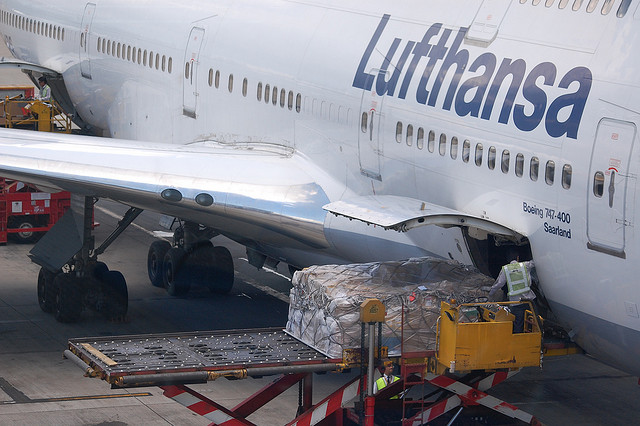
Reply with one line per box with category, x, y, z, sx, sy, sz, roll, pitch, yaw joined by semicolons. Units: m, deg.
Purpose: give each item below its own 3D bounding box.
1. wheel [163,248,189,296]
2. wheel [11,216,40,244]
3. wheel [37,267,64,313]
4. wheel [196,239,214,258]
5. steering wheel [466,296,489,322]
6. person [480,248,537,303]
wheel;-3.902;1.579;20.005;0.460;1.224;1.255;0;-4;-25
wheel;-9.482;0.483;23.573;0.912;0.858;0.308;-1;14;-15
wheel;-6.704;1.892;18.357;0.387;1.017;1.049;4;13;-9
wheel;-3.180;0.949;20.290;0.507;0.449;0.102;7;-15;22
steering wheel;2.617;1.536;11.927;0.301;0.339;0.301;-24;0;0
person;3.148;1.026;12.234;0.815;0.862;0.291;-11;18;-2
